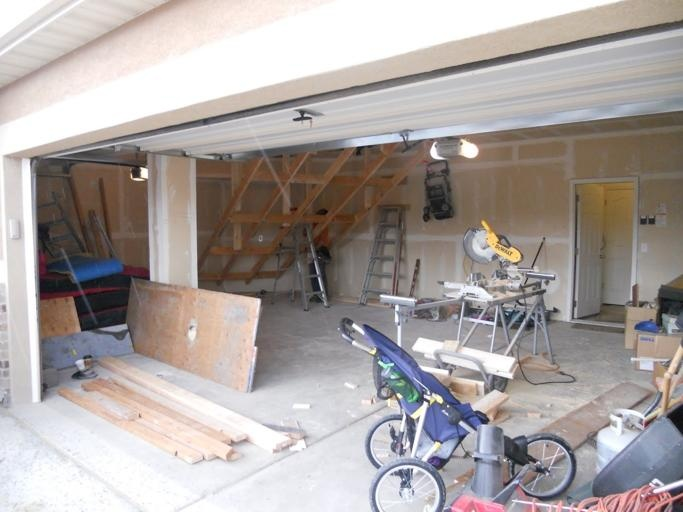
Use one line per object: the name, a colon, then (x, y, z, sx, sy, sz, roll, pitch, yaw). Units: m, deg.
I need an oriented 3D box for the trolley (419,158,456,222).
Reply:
trolley: (1.589, -1.079, 8.413, 0.750, 0.865, 0.423, 2, 5, 33)

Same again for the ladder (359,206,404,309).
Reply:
ladder: (0.757, -0.019, 9.074, 0.747, 1.743, 0.876, 1, 12, 6)

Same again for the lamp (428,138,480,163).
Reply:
lamp: (1.057, -0.991, 4.888, 0.439, 0.186, 0.569, 0, 2, 6)

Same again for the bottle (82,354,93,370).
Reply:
bottle: (-2.624, 1.110, 5.240, 0.066, 0.200, 0.244, -5, 12, -24)

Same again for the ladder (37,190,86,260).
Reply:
ladder: (-3.862, -0.431, 6.880, 0.381, 0.862, 0.558, 4, 12, 17)

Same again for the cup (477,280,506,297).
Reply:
cup: (1.558, 0.331, 5.204, 0.194, 0.080, 0.244, 3, 9, 30)

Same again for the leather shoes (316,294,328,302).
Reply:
leather shoes: (-0.350, 0.776, 9.064, 0.145, 0.085, 0.206, -10, 10, -5)
